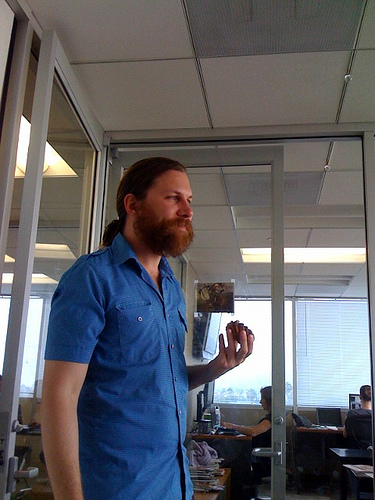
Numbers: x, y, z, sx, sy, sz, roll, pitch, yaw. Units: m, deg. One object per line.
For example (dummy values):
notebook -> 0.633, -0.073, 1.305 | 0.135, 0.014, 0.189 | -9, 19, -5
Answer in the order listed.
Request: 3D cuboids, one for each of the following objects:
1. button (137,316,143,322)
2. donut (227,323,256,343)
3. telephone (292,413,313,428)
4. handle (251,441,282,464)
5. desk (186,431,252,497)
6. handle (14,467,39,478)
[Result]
button -> -0.099, 0.144, 0.900 | 0.003, 0.012, 0.015 | -10, -17, 34
donut -> 0.136, 0.207, 1.089 | 0.013, 0.044, 0.053 | -19, 39, -37
telephone -> 1.451, 2.132, 5.401 | 0.240, 0.225, 0.460 | -4, -14, 14
handle -> 0.381, 0.955, 2.057 | 0.132, 0.091, 0.094 | 0, -14, 7
desk -> 0.161, 0.974, 2.134 | 0.371, 0.321, 0.249 | -2, -12, 8
handle -> -0.463, 0.633, 1.242 | 0.054, 0.015, 0.050 | -3, -11, 20
